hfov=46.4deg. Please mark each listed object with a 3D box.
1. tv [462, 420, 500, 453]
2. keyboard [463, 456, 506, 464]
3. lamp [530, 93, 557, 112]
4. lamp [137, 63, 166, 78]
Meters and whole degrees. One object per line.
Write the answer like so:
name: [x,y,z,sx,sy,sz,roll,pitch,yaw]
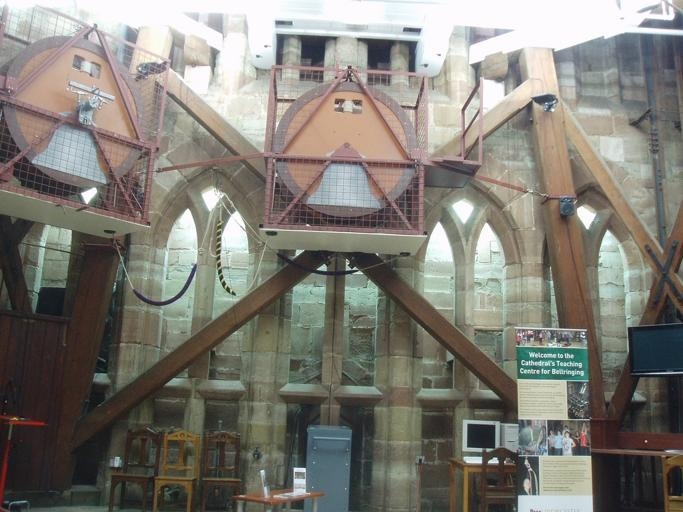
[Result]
tv: [2.820,3.599,16.446,1.016,0.891,0.531,1,-9,0]
keyboard: [2.755,3.900,15.417,0.388,0.096,0.399,0,-6,2]
lamp: [4.395,-3.321,17.259,0.410,0.346,0.454,-1,5,-17]
lamp: [-3.951,-3.866,16.632,0.667,0.309,0.169,-3,-17,10]
